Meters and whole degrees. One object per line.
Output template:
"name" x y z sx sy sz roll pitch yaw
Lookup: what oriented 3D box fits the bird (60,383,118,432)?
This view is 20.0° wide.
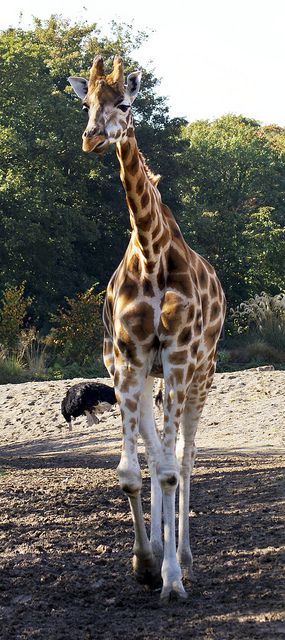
"bird" -0.747 1.197 11.329 0.879 0.655 0.453 -23 -13 10

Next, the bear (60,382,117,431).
"bear" -0.751 1.163 11.317 0.879 0.697 0.453 -22 -5 8
